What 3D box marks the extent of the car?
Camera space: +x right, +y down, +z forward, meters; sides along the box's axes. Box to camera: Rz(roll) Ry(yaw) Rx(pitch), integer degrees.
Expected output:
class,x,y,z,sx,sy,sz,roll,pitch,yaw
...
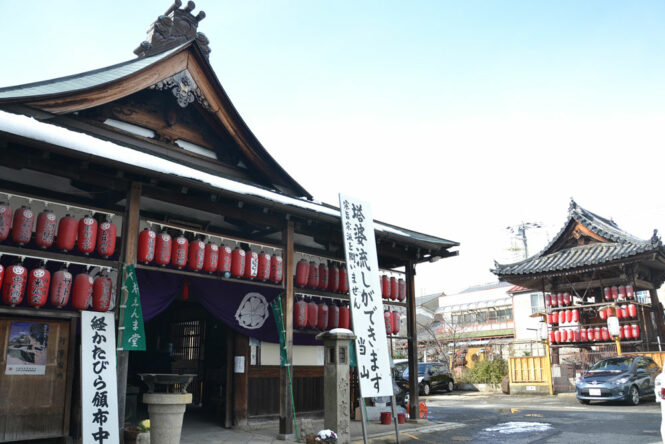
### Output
class,x,y,z,sx,sy,sz,roll,pitch,yaw
car,10.330,5.583,18.893,2.909,1.128,1.649,26,-38,-36
